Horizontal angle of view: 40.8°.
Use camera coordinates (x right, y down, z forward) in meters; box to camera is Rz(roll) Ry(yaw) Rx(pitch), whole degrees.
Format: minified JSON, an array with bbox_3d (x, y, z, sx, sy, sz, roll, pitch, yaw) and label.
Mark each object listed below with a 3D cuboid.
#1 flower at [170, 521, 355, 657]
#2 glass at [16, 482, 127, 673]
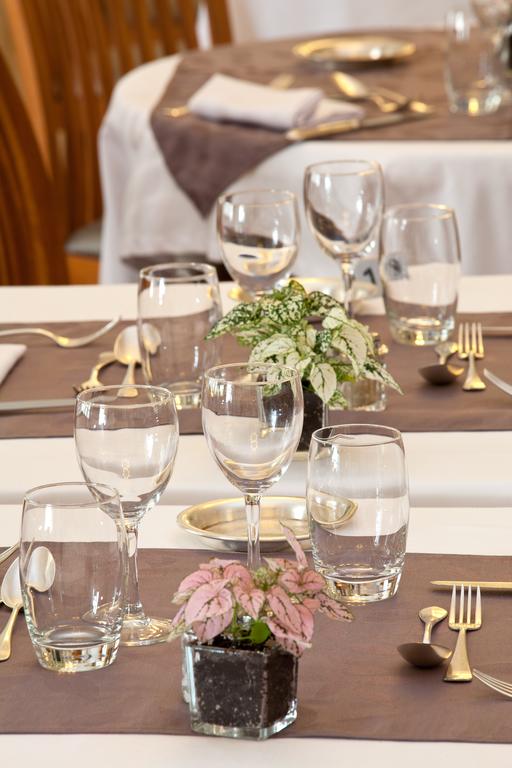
[{"bbox_3d":[0.009,0.093,0.326,0.090,0.039,0.094,-11,-15,29],"label":"flower"},{"bbox_3d":[-0.090,0.105,0.350,0.053,0.099,0.030,-6,10,-18],"label":"glass"}]
